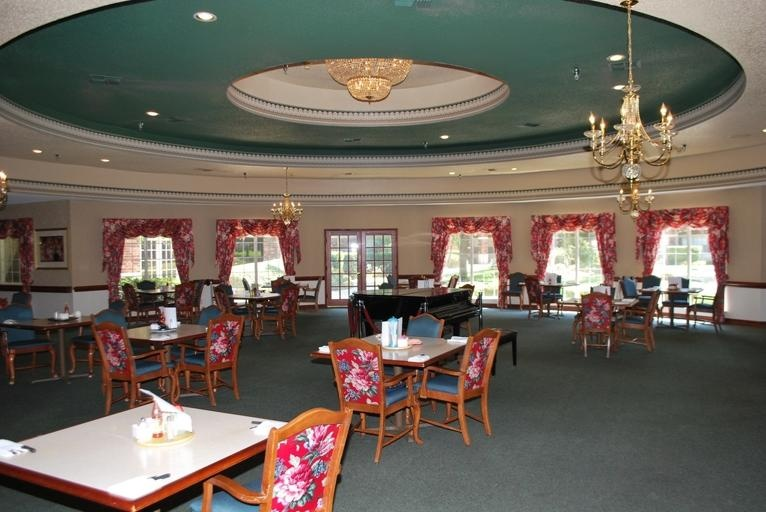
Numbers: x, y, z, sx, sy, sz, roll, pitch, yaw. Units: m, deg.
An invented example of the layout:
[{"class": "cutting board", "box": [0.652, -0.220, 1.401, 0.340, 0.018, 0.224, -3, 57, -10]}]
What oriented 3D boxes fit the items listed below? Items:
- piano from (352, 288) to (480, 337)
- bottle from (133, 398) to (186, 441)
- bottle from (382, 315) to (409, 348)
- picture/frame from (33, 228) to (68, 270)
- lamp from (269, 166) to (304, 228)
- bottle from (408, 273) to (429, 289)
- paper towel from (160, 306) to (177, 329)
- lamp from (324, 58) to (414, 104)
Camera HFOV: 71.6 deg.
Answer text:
[{"class": "piano", "box": [0.602, 1.263, 10.659, 2.276, 0.856, 2.183, -1, 0, 8]}, {"class": "bottle", "box": [-2.033, 1.504, 4.968, 0.535, 0.395, 0.331, -2, 5, -22]}, {"class": "bottle", "box": [0.146, 1.060, 7.257, 0.355, 0.429, 0.281, -3, 0, -2]}, {"class": "picture/frame", "box": [-9.302, -0.188, 14.885, 1.293, 1.108, 0.032, 0, 2, 20]}, {"class": "lamp", "box": [-2.671, -1.655, 14.800, 0.761, 1.444, 0.735, -5, 13, -26]}, {"class": "bottle", "box": [1.028, 0.706, 15.421, 0.465, 0.262, 0.459, 0, 1, 0]}, {"class": "paper towel", "box": [-3.413, 0.991, 8.642, 0.405, 0.360, 0.274, -2, -1, 39]}, {"class": "lamp", "box": [-0.234, -2.875, 8.739, 1.322, 0.424, 1.217, -3, 2, -33]}]
